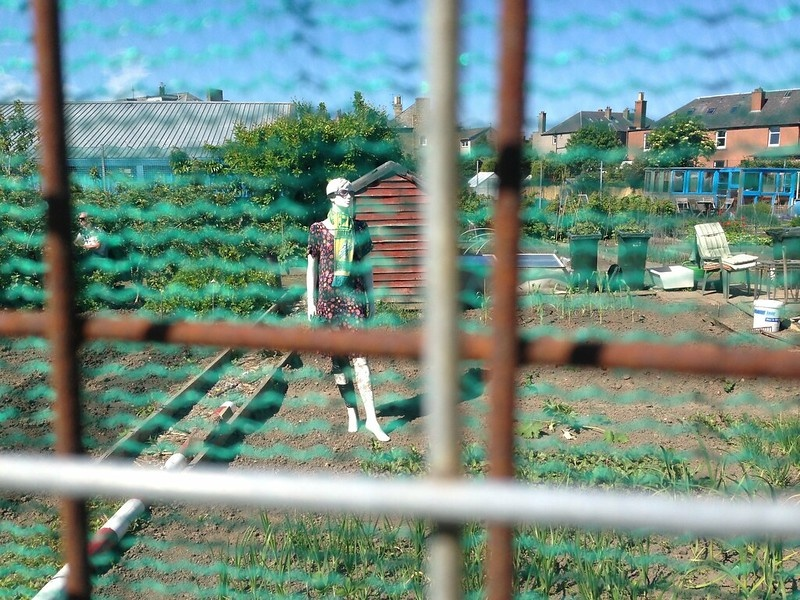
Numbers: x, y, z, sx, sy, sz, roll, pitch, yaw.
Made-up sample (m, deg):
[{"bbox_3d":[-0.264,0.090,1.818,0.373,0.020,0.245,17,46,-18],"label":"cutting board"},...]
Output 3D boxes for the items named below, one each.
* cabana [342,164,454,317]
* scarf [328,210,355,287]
[{"bbox_3d":[-0.073,-0.722,10.208,1.423,2.013,1.665,-1,2,0],"label":"cabana"},{"bbox_3d":[-0.367,-0.330,5.279,0.160,0.525,0.156,2,-10,-16],"label":"scarf"}]
